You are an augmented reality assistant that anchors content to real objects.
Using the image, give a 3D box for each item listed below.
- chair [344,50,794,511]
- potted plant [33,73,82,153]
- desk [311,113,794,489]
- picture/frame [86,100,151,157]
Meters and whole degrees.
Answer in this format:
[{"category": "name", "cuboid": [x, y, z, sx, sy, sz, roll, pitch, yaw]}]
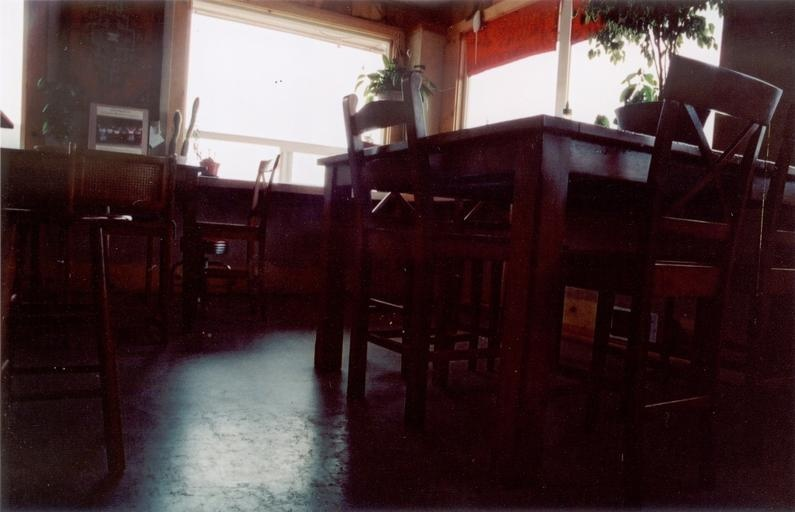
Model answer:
[{"category": "chair", "cuboid": [0.492, 0.017, 3.222, 1.468, 1.631, 2.243, 0, 3, -25]}, {"category": "potted plant", "cuboid": [-2.454, -1.057, 4.295, 0.244, 0.521, 0.565, -1, 7, -31]}, {"category": "desk", "cuboid": [0.570, 0.088, 2.788, 1.743, 1.380, 1.231, 1, 6, -16]}, {"category": "picture/frame", "cuboid": [-2.113, -0.972, 4.500, 0.413, 0.342, 0.168, 0, 7, -25]}]
